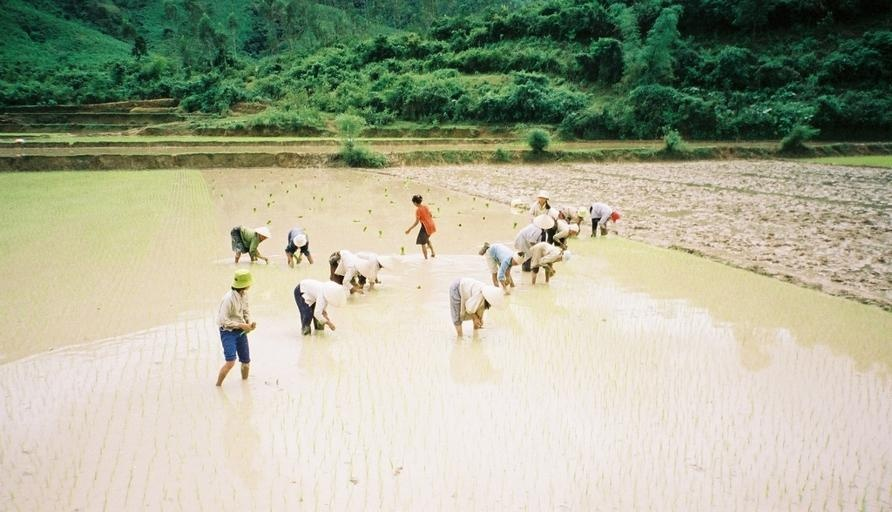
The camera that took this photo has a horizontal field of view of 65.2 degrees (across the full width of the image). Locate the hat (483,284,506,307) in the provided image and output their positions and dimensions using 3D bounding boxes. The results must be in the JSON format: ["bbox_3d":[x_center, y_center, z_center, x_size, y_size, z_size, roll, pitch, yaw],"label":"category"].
[{"bbox_3d":[1.826,1.645,28.307,0.876,0.807,0.491,9,28,13],"label":"hat"}]

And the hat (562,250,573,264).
[{"bbox_3d":[5.530,0.005,32.152,0.385,0.486,0.462,11,-17,-1],"label":"hat"}]

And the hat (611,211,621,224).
[{"bbox_3d":[8.780,-2.046,36.433,0.390,0.503,0.526,12,35,-13],"label":"hat"}]

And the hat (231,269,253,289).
[{"bbox_3d":[-7.983,0.945,27.023,0.825,0.434,0.787,8,23,31],"label":"hat"}]
